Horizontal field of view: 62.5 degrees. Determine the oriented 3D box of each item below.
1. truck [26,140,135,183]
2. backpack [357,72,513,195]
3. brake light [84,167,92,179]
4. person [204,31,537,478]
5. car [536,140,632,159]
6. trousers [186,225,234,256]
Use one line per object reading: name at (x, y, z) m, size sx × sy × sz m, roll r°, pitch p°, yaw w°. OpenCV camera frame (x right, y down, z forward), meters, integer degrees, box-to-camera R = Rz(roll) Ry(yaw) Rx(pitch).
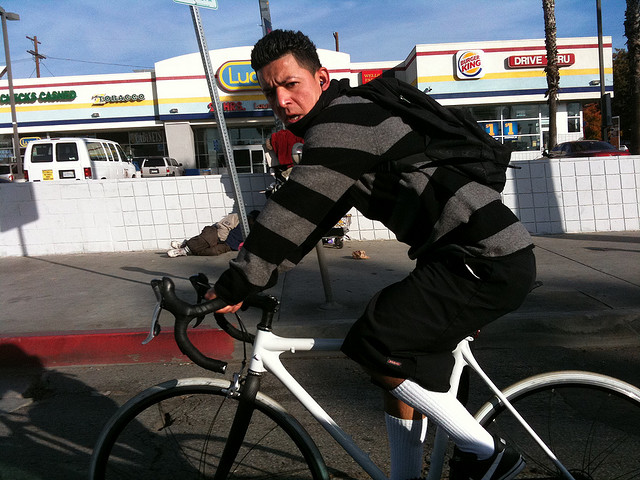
truck at (-8.232, -2.494, 18.564) m, size 2.418 × 1.476 × 3.767 m, roll -1°, pitch 7°, yaw 6°
backpack at (0.455, -0.457, 2.545) m, size 0.526 × 0.664 × 0.251 m, roll -34°, pitch -11°, yaw -30°
brake light at (-7.365, -2.131, 16.756) m, size 0.121 × 0.321 × 0.245 m, roll 1°, pitch 10°, yaw 27°
person at (0.334, 0.182, 2.410) m, size 1.207 × 1.782 × 0.440 m, roll -2°, pitch 10°, yaw 12°
car at (10.057, -3.492, 20.120) m, size 2.264 × 0.616 × 2.796 m, roll -3°, pitch 7°, yaw -5°
trousers at (-1.829, 0.034, 8.719) m, size 0.618 × 0.436 × 0.398 m, roll -8°, pitch 10°, yaw -34°
